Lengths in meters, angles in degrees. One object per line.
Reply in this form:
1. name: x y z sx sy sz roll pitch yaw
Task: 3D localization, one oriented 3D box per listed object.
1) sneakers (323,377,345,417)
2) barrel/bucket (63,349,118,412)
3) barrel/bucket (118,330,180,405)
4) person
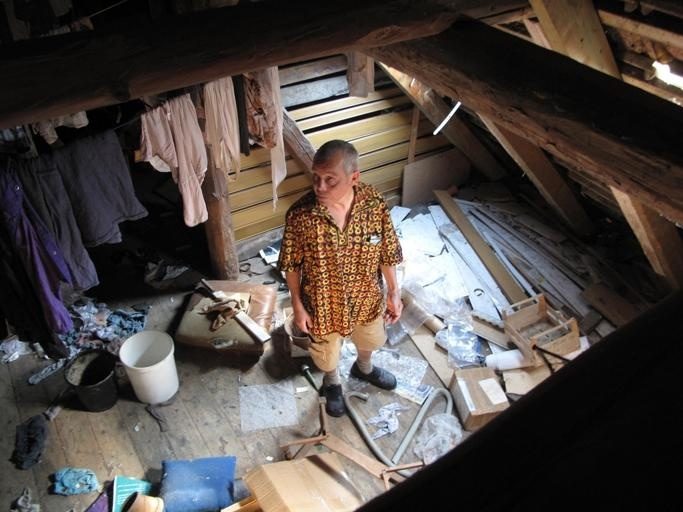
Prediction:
1. sneakers: -0.059 1.018 3.456 0.156 0.136 0.368 2 25 -11
2. barrel/bucket: -1.919 0.934 3.552 0.410 0.409 0.419 1 74 -4
3. barrel/bucket: -1.409 0.830 3.408 0.330 0.353 0.316 -1 41 1
4. person: 0.019 0.238 2.967 0.718 2.013 0.336 -17 35 -17
